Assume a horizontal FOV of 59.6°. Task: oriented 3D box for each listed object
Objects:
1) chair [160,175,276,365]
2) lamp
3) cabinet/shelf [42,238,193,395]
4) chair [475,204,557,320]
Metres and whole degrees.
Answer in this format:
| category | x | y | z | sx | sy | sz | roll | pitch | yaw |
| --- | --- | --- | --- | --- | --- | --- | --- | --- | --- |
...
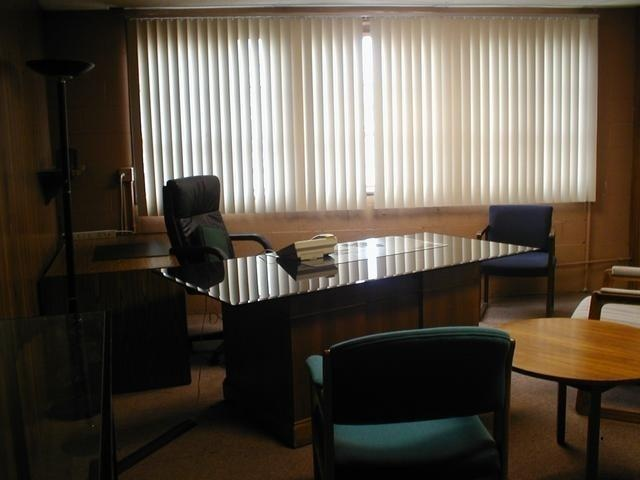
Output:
| category | x | y | z | sx | sy | sz | roll | pitch | yaw |
| --- | --- | --- | --- | --- | --- | --- | --- | --- | --- |
| chair | -0.707 | 0.220 | 4.258 | 0.848 | 1.369 | 0.831 | -8 | 11 | -37 |
| lamp | -1.634 | -0.246 | 3.592 | 0.356 | 1.744 | 0.349 | 3 | 24 | -10 |
| cabinet/shelf | -1.378 | 0.692 | 3.853 | 0.811 | 0.728 | 1.453 | -6 | 18 | -22 |
| chair | 1.713 | 0.180 | 4.867 | 0.637 | 0.981 | 0.608 | 1 | 7 | 24 |
